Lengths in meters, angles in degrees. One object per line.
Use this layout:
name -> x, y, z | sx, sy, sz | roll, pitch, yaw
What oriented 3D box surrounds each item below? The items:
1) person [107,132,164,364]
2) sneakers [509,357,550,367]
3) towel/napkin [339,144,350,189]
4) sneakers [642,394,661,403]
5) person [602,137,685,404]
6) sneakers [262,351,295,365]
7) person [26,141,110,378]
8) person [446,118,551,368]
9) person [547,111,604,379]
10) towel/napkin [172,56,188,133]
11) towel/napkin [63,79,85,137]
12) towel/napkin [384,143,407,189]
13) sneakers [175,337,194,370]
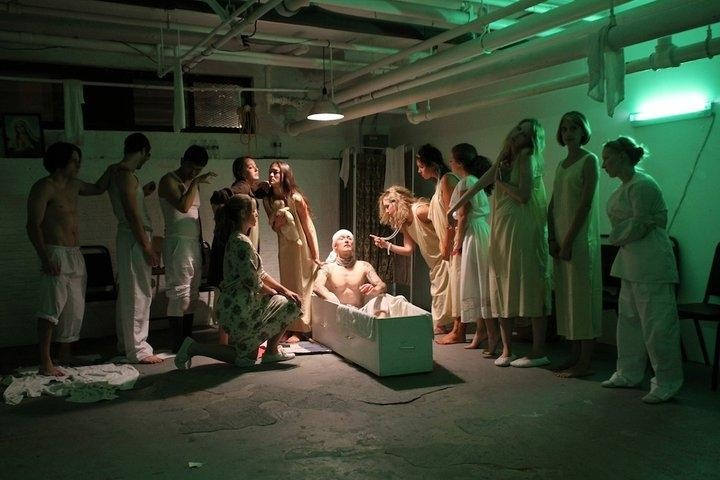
person -> -2.566, 0.095, 5.881 | 0.568, 2.563, 0.889 | -7, 12, -24
sneakers -> 1.787, 1.268, 5.476 | 0.384, 0.094, 0.139 | 2, -7, -7
towel/napkin -> -0.263, -1.203, 8.771 | 0.157, 0.661, 0.421 | -5, 11, -16
sneakers -> 2.572, 1.388, 4.562 | 0.163, 0.070, 0.085 | -2, 10, -4
person -> 2.538, 0.239, 4.698 | 0.551, 2.301, 0.783 | -4, 11, -13
sneakers -> -0.915, 1.302, 5.788 | 0.384, 0.136, 0.122 | -2, -1, -16
person -> -3.181, 0.175, 5.540 | 0.422, 2.370, 0.932 | 0, 11, 8
person -> 1.611, 0.052, 5.413 | 0.770, 2.539, 0.523 | 1, 11, 12
person -> 2.145, 0.052, 5.130 | 0.501, 2.555, 0.571 | -1, 11, 1
towel/napkin -> -1.976, -1.549, 5.621 | 0.120, 0.724, 0.281 | -6, 12, -20
towel/napkin -> -3.745, -1.659, 6.789 | 0.253, 0.792, 0.160 | -7, 13, -28
towel/napkin -> 0.579, -1.184, 8.550 | 0.208, 0.684, 0.569 | -11, 14, -39
sneakers -> -1.811, 1.188, 5.498 | 0.152, 0.350, 0.167 | 17, -7, -4
